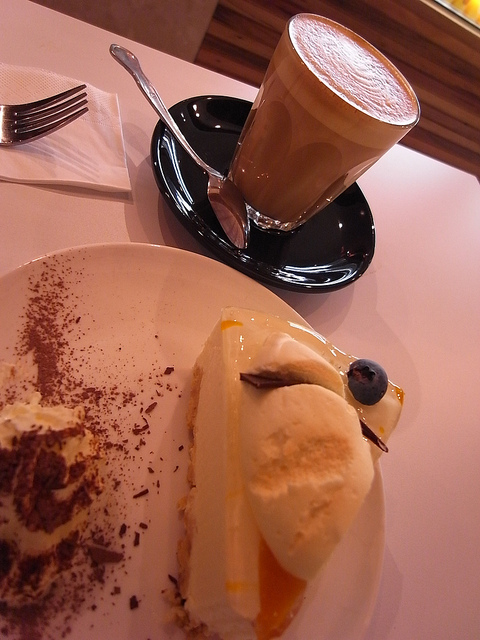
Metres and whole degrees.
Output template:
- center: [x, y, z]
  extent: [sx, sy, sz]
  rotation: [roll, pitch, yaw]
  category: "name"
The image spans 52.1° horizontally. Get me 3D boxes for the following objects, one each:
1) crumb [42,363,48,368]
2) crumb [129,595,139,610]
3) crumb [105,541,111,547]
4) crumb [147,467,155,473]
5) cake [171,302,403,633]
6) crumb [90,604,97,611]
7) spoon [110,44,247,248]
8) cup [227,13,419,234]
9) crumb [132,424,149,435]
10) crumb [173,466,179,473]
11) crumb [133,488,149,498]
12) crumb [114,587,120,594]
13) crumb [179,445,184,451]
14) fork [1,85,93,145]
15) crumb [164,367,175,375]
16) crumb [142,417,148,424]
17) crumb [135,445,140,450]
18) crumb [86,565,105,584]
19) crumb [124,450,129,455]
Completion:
- center: [-0.300, 0.069, 0.757]
  extent: [0.007, 0.003, 0.006]
  rotation: [7, 43, -33]
  category: "crumb"
- center: [-0.144, 0.385, 0.670]
  extent: [0.010, 0.003, 0.015]
  rotation: [7, 45, -18]
  category: "crumb"
- center: [-0.188, 0.320, 0.705]
  extent: [0.007, 0.003, 0.006]
  rotation: [-4, 50, -41]
  category: "crumb"
- center: [-0.138, 0.234, 0.769]
  extent: [0.010, 0.003, 0.009]
  rotation: [6, 44, -34]
  category: "crumb"
- center: [0.068, 0.128, 0.707]
  extent: [0.284, 0.172, 0.483]
  rotation: [23, 54, -3]
  category: "cake"
- center: [-0.195, 0.384, 0.658]
  extent: [0.007, 0.003, 0.008]
  rotation: [45, 37, 14]
  category: "crumb"
- center: [-0.134, -0.352, 1.020]
  extent: [0.078, 0.058, 0.589]
  rotation: [-24, 85, -22]
  category: "spoon"
- center: [0.128, -0.296, 0.889]
  extent: [0.261, 0.378, 0.236]
  rotation: [25, 34, -7]
  category: "cup"
- center: [-0.160, 0.175, 0.789]
  extent: [0.011, 0.007, 0.020]
  rotation: [38, 48, 17]
  category: "crumb"
- center: [-0.101, 0.238, 0.784]
  extent: [0.003, 0.002, 0.008]
  rotation: [11, 50, 30]
  category: "crumb"
- center: [-0.148, 0.262, 0.750]
  extent: [0.028, 0.009, 0.008]
  rotation: [-9, 44, -29]
  category: "crumb"
- center: [-0.166, 0.369, 0.672]
  extent: [0.005, 0.001, 0.006]
  rotation: [-11, 59, -41]
  category: "crumb"
- center: [-0.095, 0.209, 0.805]
  extent: [0.009, 0.003, 0.008]
  rotation: [4, 45, -36]
  category: "crumb"
- center: [-0.345, -0.371, 0.927]
  extent: [0.173, 0.026, 0.096]
  rotation: [-25, 75, -18]
  category: "fork"
- center: [-0.123, 0.087, 0.854]
  extent: [0.012, 0.003, 0.014]
  rotation: [-6, 93, -30]
  category: "crumb"
- center: [-0.155, 0.161, 0.805]
  extent: [0.004, 0.004, 0.014]
  rotation: [-25, 77, -27]
  category: "crumb"
- center: [-0.162, 0.201, 0.779]
  extent: [0.007, 0.004, 0.006]
  rotation: [18, 38, -21]
  category: "crumb"
- center: [-0.198, 0.352, 0.677]
  extent: [0.017, 0.004, 0.018]
  rotation: [35, 49, 20]
  category: "crumb"
- center: [-0.177, 0.207, 0.773]
  extent: [0.004, 0.004, 0.008]
  rotation: [42, 36, 15]
  category: "crumb"
